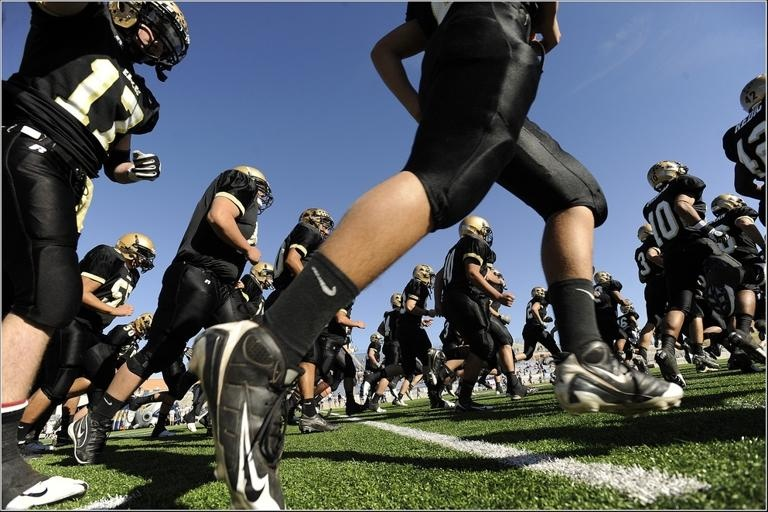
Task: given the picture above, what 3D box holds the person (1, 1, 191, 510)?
[{"bbox_3d":[-2.013,-0.385,2.867,0.539,3.649,0.815,-7,-13,20],"label":"person"}]
